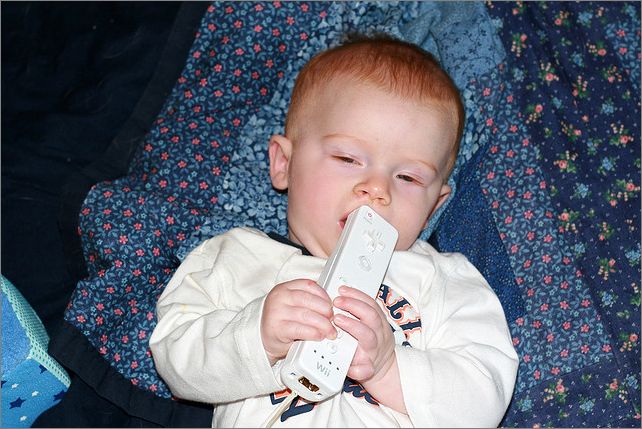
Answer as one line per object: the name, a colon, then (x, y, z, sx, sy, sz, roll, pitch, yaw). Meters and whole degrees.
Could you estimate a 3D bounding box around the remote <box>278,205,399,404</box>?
remote: (0.098, 0.176, 1.534, 0.182, 0.188, 0.648, 31, 54, -15)
